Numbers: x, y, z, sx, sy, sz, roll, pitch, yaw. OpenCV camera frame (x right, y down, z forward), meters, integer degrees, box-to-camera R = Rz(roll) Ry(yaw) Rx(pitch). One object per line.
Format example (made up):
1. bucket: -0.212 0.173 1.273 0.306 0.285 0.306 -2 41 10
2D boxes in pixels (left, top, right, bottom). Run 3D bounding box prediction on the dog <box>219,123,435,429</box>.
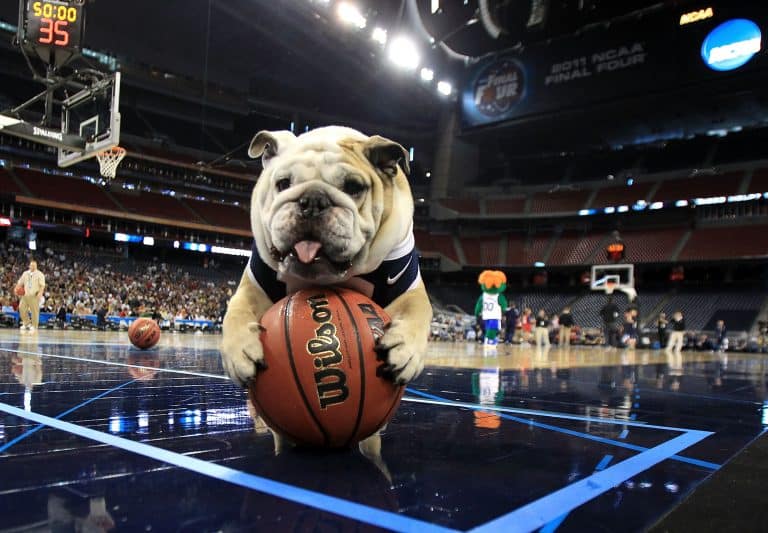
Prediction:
1. dog: -0.217 -0.239 3.091 0.942 0.970 1.652 1 9 5
